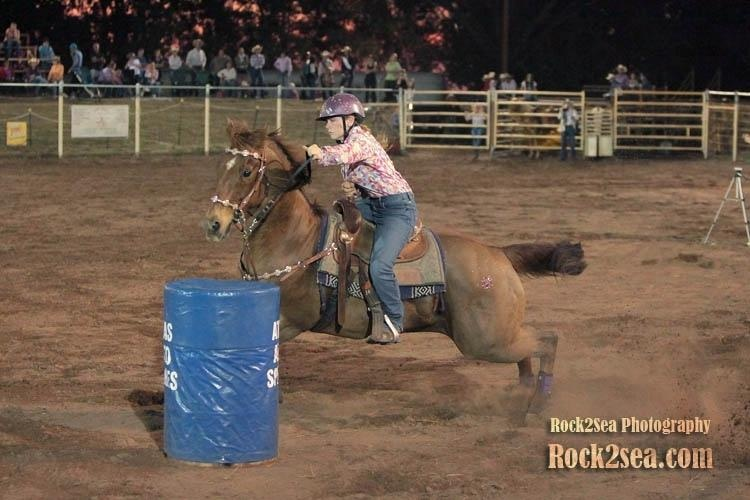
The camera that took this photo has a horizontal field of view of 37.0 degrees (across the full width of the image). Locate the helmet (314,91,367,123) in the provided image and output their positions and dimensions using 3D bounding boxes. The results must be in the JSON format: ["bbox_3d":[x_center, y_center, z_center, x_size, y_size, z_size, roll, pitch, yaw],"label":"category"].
[{"bbox_3d":[-0.506,-2.144,16.722,0.588,0.296,0.407,4,-4,-18],"label":"helmet"}]
